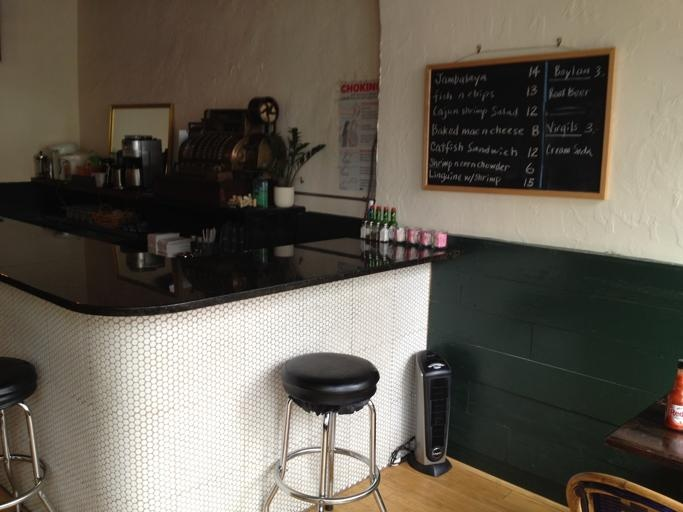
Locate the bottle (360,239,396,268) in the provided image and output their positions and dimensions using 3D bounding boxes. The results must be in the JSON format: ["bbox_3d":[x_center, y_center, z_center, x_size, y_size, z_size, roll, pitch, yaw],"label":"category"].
[{"bbox_3d":[0.216,-0.011,3.418,0.160,0.041,0.158,2,15,0],"label":"bottle"}]

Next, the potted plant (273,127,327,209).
[{"bbox_3d":[-0.374,-0.692,4.446,0.343,0.608,0.470,-9,15,-39],"label":"potted plant"}]

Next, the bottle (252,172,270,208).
[{"bbox_3d":[-0.614,-0.493,4.410,0.150,0.210,0.105,-4,13,-23],"label":"bottle"}]

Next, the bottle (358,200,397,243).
[{"bbox_3d":[0.258,-0.229,3.809,0.092,0.261,0.258,-10,18,-41],"label":"bottle"}]

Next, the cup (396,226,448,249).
[{"bbox_3d":[0.496,-0.118,3.616,0.358,0.109,0.063,9,15,36],"label":"cup"}]

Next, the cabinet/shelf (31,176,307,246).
[{"bbox_3d":[-1.861,-0.361,5.224,3.506,0.481,0.570,9,14,33],"label":"cabinet/shelf"}]
